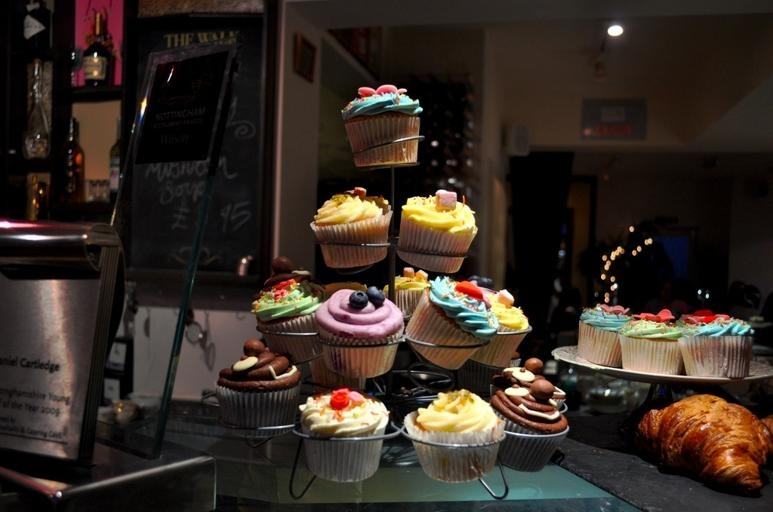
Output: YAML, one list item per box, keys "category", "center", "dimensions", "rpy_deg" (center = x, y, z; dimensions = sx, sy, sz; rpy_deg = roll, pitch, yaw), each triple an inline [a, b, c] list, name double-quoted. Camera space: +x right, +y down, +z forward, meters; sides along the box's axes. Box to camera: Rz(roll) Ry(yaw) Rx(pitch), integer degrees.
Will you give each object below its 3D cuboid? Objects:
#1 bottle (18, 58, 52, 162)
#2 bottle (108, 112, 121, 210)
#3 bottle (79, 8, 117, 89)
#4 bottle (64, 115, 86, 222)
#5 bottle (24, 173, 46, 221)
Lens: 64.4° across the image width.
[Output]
- category: "bottle"
  center: [-1.614, -0.685, 2.862]
  dimensions: [0.149, 0.457, 0.087]
  rpy_deg: [6, 12, 6]
- category: "bottle"
  center: [-1.220, -0.433, 2.766]
  dimensions: [0.046, 0.380, 0.180]
  rpy_deg: [-1, 13, -27]
- category: "bottle"
  center: [-1.313, -0.950, 2.804]
  dimensions: [0.137, 0.347, 0.109]
  rpy_deg: [10, 13, 22]
- category: "bottle"
  center: [-1.439, -0.457, 2.866]
  dimensions: [0.105, 0.385, 0.089]
  rpy_deg: [4, 12, -2]
- category: "bottle"
  center: [-1.651, -0.284, 2.907]
  dimensions: [0.110, 0.216, 0.039]
  rpy_deg: [4, 12, -4]
